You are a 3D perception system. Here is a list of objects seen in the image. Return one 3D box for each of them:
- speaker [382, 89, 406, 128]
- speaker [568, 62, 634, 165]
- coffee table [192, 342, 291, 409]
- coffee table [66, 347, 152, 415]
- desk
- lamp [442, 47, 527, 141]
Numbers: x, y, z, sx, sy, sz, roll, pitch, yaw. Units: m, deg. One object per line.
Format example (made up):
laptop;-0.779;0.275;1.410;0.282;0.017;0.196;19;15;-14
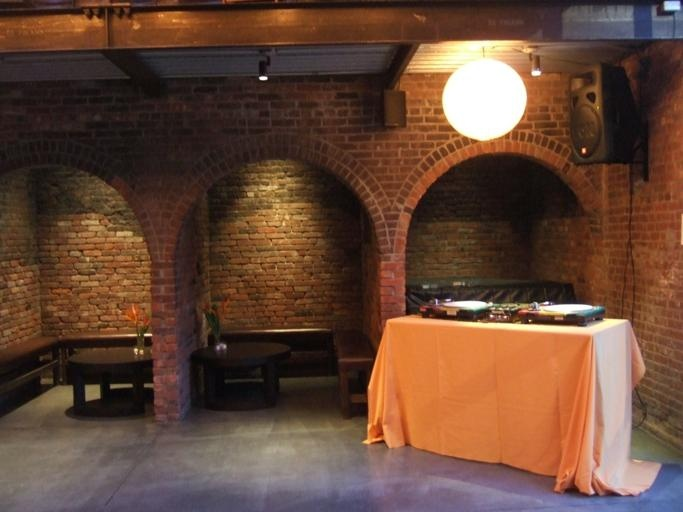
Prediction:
speaker;0.547;-1.596;7.618;0.289;0.623;0.412;0;5;1
speaker;2.685;-1.447;6.991;0.661;0.986;0.435;1;7;18
coffee table;-1.266;1.470;8.493;1.165;0.720;1.063;-9;11;-43
coffee table;-2.777;1.512;8.190;0.836;0.572;0.870;1;3;22
desk;1.519;1.261;6.483;2.485;1.440;1.294;1;7;35
lamp;1.218;-1.435;6.323;0.665;0.919;0.690;0;-2;-7
